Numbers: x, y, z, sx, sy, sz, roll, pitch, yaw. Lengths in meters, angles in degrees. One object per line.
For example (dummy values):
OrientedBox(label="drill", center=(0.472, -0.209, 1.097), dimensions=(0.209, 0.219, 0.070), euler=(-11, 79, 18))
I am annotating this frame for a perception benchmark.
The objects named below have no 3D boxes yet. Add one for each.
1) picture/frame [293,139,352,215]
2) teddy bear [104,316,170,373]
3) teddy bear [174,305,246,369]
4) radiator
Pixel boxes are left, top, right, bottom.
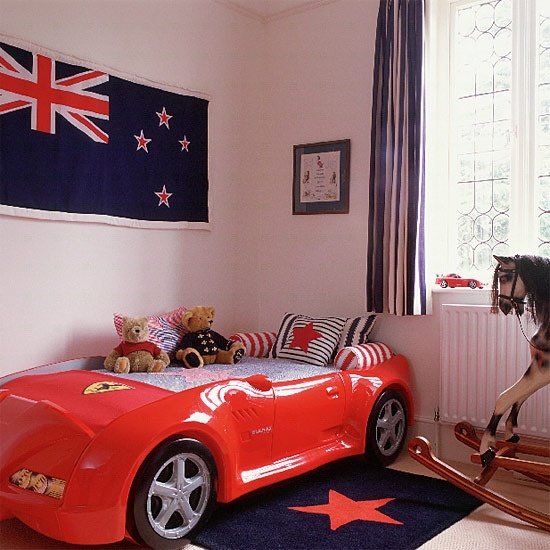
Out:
OrientedBox(label="picture/frame", center=(0.323, -0.629, 3.097), dimensions=(0.478, 0.563, 0.042), euler=(0, -1, 40))
OrientedBox(label="teddy bear", center=(-0.653, 0.343, 2.265), dimensions=(0.290, 0.304, 0.185), euler=(6, -18, -30))
OrientedBox(label="teddy bear", center=(-0.381, 0.336, 2.581), dimensions=(0.376, 0.338, 0.231), euler=(0, -9, -42))
OrientedBox(label="radiator", center=(1.067, 0.461, 2.315), dimensions=(0.703, 0.685, 0.053), euler=(0, 1, 39))
